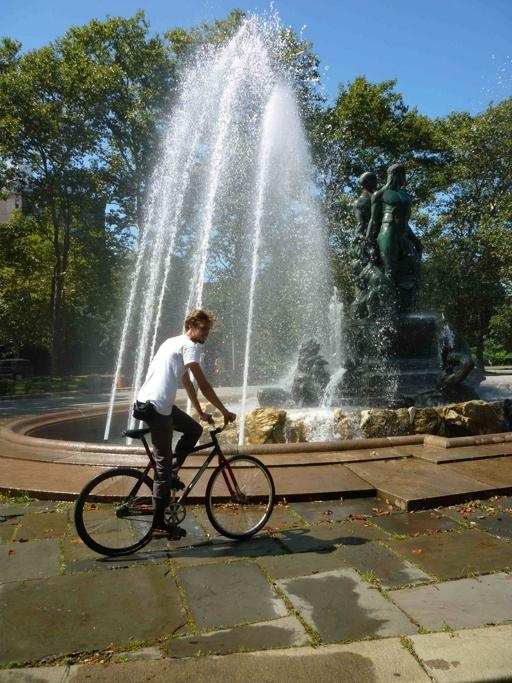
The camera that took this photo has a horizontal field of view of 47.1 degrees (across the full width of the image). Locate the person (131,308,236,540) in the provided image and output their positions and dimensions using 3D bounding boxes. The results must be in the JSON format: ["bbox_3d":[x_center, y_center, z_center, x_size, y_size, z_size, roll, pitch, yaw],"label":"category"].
[{"bbox_3d":[-0.526,0.598,4.142,0.594,1.638,0.604,0,3,32],"label":"person"}]

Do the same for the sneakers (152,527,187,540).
[{"bbox_3d":[-0.591,1.321,4.054,0.251,0.103,0.088,0,-1,1],"label":"sneakers"}]

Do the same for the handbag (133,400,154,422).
[{"bbox_3d":[-0.767,0.474,4.020,0.157,0.136,0.113,-7,-3,19],"label":"handbag"}]

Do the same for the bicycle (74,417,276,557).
[{"bbox_3d":[-0.549,1.052,4.273,1.576,0.855,0.700,4,-17,-33],"label":"bicycle"}]

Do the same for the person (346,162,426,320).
[{"bbox_3d":[2.669,-2.111,12.268,1.338,3.196,1.014,-1,2,13],"label":"person"}]
